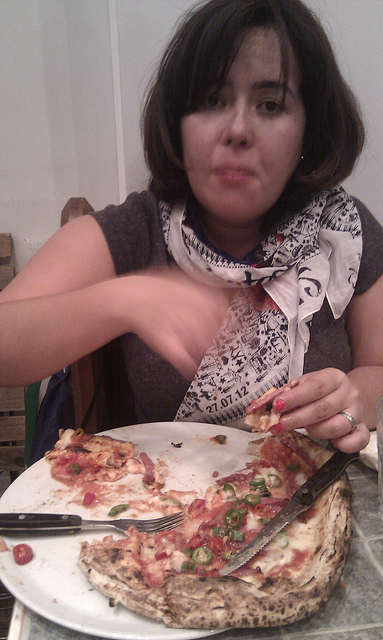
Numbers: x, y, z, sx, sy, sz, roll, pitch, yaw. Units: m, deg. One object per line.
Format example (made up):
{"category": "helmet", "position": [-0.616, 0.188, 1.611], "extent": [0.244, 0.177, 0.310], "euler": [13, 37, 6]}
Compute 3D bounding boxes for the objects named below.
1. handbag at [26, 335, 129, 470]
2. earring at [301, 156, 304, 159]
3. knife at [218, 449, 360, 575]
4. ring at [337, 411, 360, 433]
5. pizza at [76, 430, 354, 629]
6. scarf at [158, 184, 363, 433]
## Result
{"category": "handbag", "position": [-0.212, 0.152, 1.047], "extent": [0.240, 0.088, 0.237], "euler": [-36, 33, 25]}
{"category": "earring", "position": [0.228, -0.337, 1.131], "extent": [0.004, 0.006, 0.007], "euler": [13, 27, 30]}
{"category": "knife", "position": [0.119, 0.235, 0.655], "extent": [0.151, 0.015, 0.024], "euler": [-33, 19, -22]}
{"category": "ring", "position": [0.217, 0.140, 0.759], "extent": [0.021, 0.007, 0.027], "euler": [9, 39, -51]}
{"category": "pizza", "position": [0.072, 0.242, 0.663], "extent": [0.246, 0.065, 0.383], "euler": [10, 20, 33]}
{"category": "scarf", "position": [0.154, -0.034, 1.129], "extent": [0.372, 0.543, 0.145], "euler": [2, -10, 6]}
